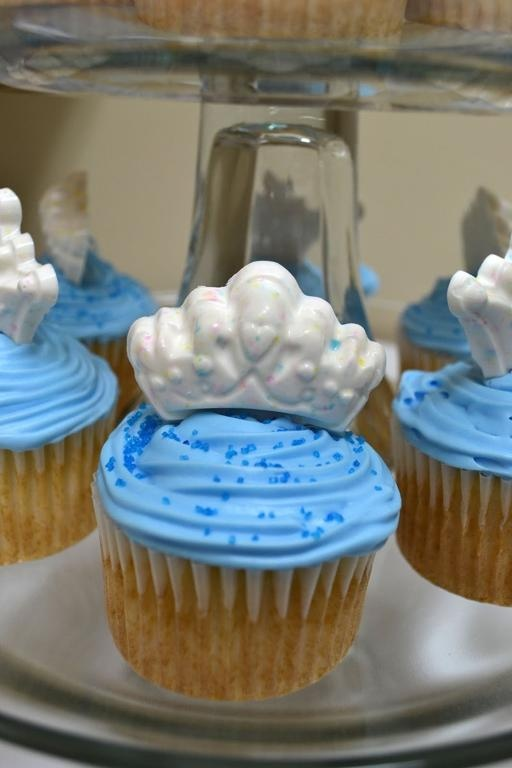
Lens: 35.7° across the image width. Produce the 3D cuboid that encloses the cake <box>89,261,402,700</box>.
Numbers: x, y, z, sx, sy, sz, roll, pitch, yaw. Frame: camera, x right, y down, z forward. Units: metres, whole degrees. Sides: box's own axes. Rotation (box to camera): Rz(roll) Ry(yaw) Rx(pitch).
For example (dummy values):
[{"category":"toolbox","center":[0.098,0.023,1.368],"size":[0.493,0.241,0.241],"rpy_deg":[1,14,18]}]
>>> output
[{"category":"cake","center":[-0.020,0.146,1.010],"size":[0.394,0.576,0.266],"rpy_deg":[7,20,10]}]
